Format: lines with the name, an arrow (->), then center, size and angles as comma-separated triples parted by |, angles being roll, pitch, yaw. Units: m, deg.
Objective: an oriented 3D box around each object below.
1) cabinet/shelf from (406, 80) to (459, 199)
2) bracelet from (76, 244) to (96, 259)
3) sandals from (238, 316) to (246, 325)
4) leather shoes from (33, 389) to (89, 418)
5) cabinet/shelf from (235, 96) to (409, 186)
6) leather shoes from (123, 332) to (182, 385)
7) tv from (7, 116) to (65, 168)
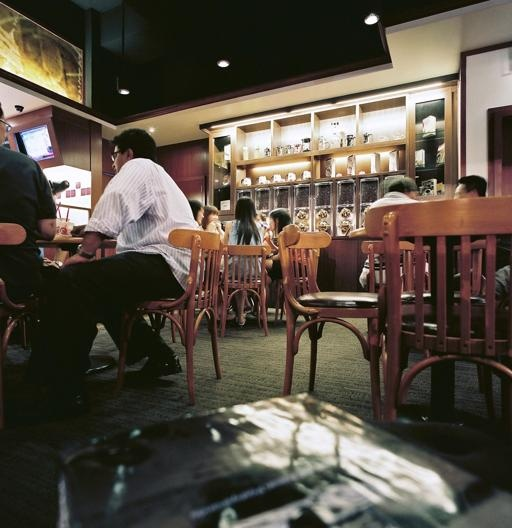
cabinet/shelf -> 2.199, -1.476, 5.175 | 0.462, 1.367, 0.155 | -2, 36, 21
bracelet -> -0.677, -0.049, 1.637 | 0.068, 0.040, 0.054 | 4, -2, -43
sandals -> -0.130, 0.530, 3.783 | 0.085, 0.096, 0.309 | -4, -7, -7
leather shoes -> -0.714, 0.516, 1.506 | 0.181, 0.076, 0.054 | -2, 0, -11
cabinet/shelf -> 0.888, -1.650, 5.979 | 2.564, 1.170, 0.357 | 0, 5, 26
leather shoes -> -0.512, 0.451, 2.078 | 0.277, 0.367, 0.208 | -7, 18, -15
tv -> -3.085, -1.732, 5.797 | 0.783, 0.804, 0.202 | 9, 16, 13
